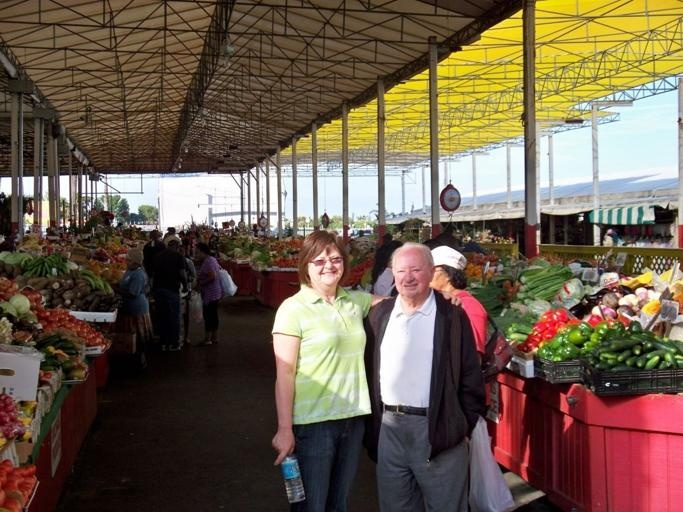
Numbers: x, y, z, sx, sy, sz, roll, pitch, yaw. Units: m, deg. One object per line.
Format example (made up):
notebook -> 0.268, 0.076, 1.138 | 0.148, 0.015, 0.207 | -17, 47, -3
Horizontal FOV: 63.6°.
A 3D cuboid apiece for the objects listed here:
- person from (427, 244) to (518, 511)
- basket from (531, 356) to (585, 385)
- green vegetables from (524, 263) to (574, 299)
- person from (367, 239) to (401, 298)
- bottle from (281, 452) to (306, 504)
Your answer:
person -> 0.845, 0.807, 3.406 | 0.520, 1.717, 0.618 | 5, 6, 5
basket -> 1.471, 0.755, 3.700 | 0.200, 0.090, 0.206 | -2, 3, -11
green vegetables -> 2.224, 0.262, 5.975 | 0.554, 0.291, 0.600 | -6, 3, 24
person -> 0.653, 0.181, 7.748 | 0.450, 1.023, 0.519 | 0, 8, -6
bottle -> -0.234, 1.118, 2.752 | 0.097, 0.242, 0.114 | -6, 2, -4
